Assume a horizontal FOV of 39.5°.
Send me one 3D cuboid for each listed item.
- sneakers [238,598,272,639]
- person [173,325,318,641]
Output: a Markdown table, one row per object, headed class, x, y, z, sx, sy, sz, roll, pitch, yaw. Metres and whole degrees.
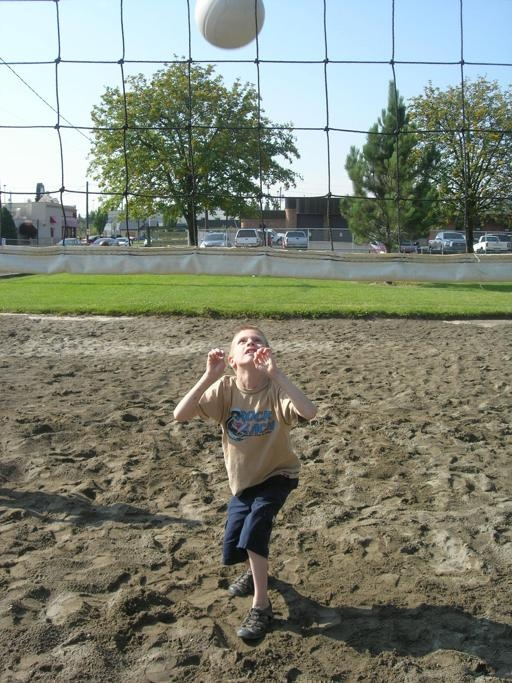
| class | x | y | z | sx | sy | sz | roll | pitch | yaw |
| --- | --- | --- | --- | --- | --- | --- | --- | --- | --- |
| sneakers | -0.001 | 0.983 | 2.497 | 0.077 | 0.063 | 0.160 | 5 | 11 | 21 |
| person | -0.008 | 0.479 | 2.679 | 0.403 | 0.992 | 0.597 | -5 | 12 | -29 |
